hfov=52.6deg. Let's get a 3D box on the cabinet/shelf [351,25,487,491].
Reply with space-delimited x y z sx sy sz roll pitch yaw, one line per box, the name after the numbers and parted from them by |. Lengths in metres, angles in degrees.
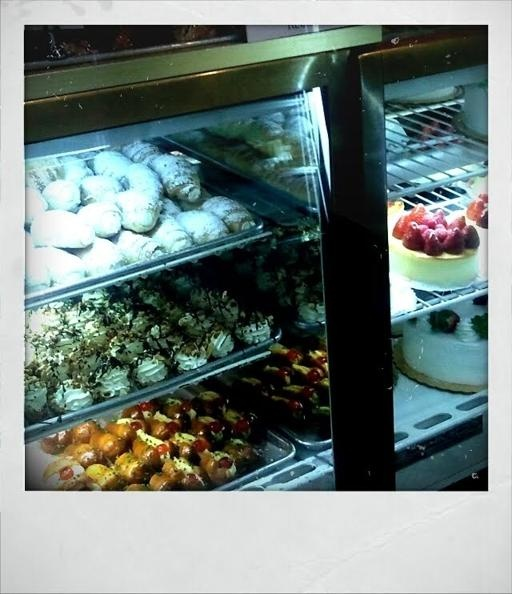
0.478 -0.095 1.405 0.343 1.236 0.212 -3 10 8 | cabinet/shelf
